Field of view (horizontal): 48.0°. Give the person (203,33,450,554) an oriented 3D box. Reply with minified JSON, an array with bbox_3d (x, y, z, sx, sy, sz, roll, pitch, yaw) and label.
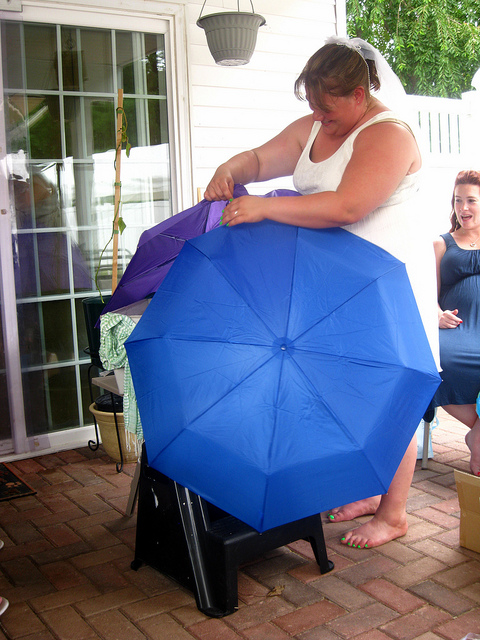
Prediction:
[{"bbox_3d":[0.266,-0.151,1.793,0.808,1.386,0.566,-6,19,-8],"label":"person"}]

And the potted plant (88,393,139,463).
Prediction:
[{"bbox_3d":[-0.626,0.591,2.931,0.290,0.280,0.279,8,-26,-45],"label":"potted plant"}]

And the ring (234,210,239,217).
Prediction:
[{"bbox_3d":[-0.009,-0.265,1.334,0.005,0.006,0.021,4,49,-22],"label":"ring"}]

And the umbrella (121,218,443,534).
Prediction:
[{"bbox_3d":[0.105,0.068,1.236,0.618,0.632,0.429,-4,3,-26],"label":"umbrella"}]

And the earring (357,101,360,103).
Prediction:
[{"bbox_3d":[0.326,-0.600,1.483,0.010,0.002,0.005,-3,3,-26],"label":"earring"}]

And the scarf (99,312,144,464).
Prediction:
[{"bbox_3d":[-0.341,0.219,1.752,0.173,0.467,0.185,-3,17,-16],"label":"scarf"}]

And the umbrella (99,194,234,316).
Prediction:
[{"bbox_3d":[-0.294,-0.215,1.908,0.226,0.488,0.501,36,12,2],"label":"umbrella"}]
